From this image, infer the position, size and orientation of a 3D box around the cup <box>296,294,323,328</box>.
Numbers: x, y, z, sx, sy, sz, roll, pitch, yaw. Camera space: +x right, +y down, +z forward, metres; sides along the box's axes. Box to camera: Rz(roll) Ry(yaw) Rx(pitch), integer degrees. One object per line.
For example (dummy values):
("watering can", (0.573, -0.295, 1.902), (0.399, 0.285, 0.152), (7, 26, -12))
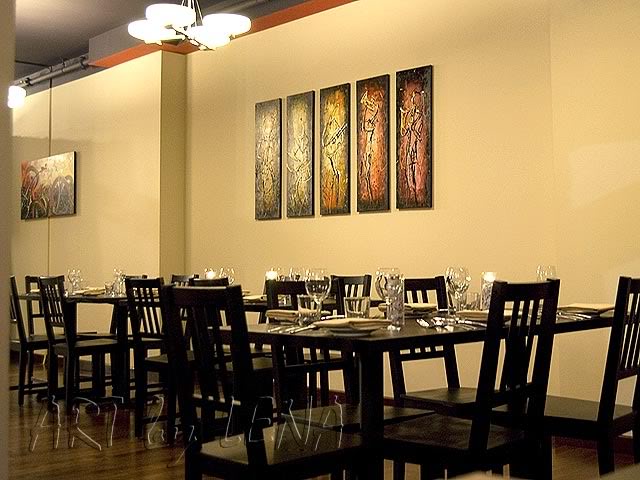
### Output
("cup", (-0.048, 0.325, 2.481), (0.108, 0.145, 0.111), (-1, -7, 0))

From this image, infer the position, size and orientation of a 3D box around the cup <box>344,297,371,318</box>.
("cup", (0.162, 0.293, 2.469), (0.086, 0.126, 0.091), (1, -1, 0))

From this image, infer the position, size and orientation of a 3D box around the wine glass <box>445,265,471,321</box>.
("wine glass", (0.712, 0.275, 2.845), (0.117, 0.258, 0.272), (-1, -2, 13))

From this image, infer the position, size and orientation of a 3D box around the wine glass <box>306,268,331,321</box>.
("wine glass", (-0.009, 0.262, 2.620), (0.106, 0.243, 0.310), (0, -2, 0))

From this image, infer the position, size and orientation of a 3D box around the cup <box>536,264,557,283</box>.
("cup", (1.390, 0.207, 3.376), (0.116, 0.128, 0.117), (0, 0, 0))
